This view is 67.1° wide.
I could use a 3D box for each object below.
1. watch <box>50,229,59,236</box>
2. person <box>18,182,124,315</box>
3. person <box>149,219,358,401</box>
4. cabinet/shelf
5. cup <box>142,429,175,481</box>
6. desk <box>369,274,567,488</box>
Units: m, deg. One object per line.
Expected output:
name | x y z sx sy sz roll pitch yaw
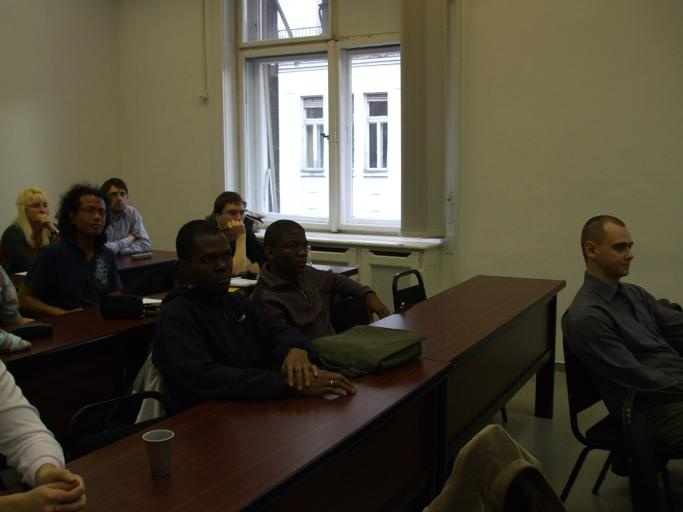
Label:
watch | -2.285 -0.189 4.100 0.069 0.060 0.075 2 2 -11
person | -1.633 -0.009 3.242 0.621 0.939 0.534 5 -7 -45
person | -0.354 0.242 1.955 0.695 0.829 0.530 -3 2 20
cabinet/shelf | 0.204 0.277 5.000 1.432 0.962 0.453 5 12 36
cup | -0.457 0.500 1.308 0.071 0.091 0.074 -3 -1 0
desk | 0.690 0.708 2.876 0.642 0.919 1.794 6 11 38
